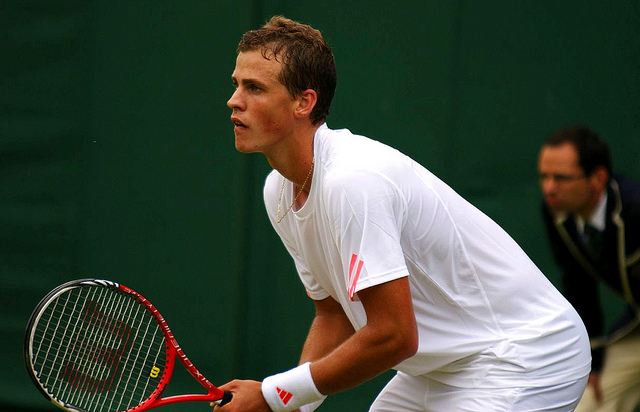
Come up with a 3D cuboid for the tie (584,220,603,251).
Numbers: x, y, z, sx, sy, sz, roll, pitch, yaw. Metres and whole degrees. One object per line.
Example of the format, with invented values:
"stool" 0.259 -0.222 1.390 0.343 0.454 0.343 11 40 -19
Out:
"tie" 1.794 0.183 4.919 0.115 0.207 0.046 -17 10 19
